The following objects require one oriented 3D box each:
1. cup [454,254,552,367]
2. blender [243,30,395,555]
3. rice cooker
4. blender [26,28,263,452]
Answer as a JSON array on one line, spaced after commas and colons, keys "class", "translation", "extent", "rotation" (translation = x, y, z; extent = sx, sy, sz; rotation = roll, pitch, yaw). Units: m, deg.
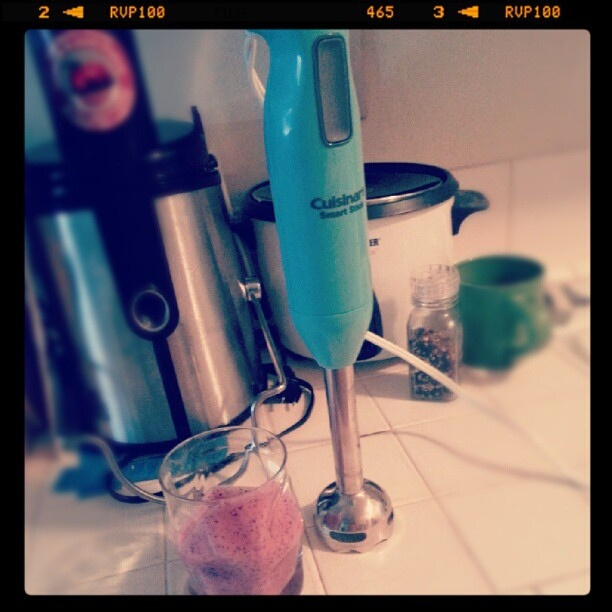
[{"class": "cup", "translation": [0.195, 0.022, 0.658], "extent": [0.080, 0.103, 0.136], "rotation": [-2, -14, 23]}, {"class": "blender", "translation": [0.006, -0.009, 0.389], "extent": [0.063, 0.316, 0.054], "rotation": [6, 19, 41]}, {"class": "rice cooker", "translation": [0.092, -0.045, 0.634], "extent": [0.170, 0.144, 0.136], "rotation": [5, 21, 42]}, {"class": "blender", "translation": [-0.125, -0.045, 0.499], "extent": [0.099, 0.305, 0.149], "rotation": [1, 19, 33]}]
